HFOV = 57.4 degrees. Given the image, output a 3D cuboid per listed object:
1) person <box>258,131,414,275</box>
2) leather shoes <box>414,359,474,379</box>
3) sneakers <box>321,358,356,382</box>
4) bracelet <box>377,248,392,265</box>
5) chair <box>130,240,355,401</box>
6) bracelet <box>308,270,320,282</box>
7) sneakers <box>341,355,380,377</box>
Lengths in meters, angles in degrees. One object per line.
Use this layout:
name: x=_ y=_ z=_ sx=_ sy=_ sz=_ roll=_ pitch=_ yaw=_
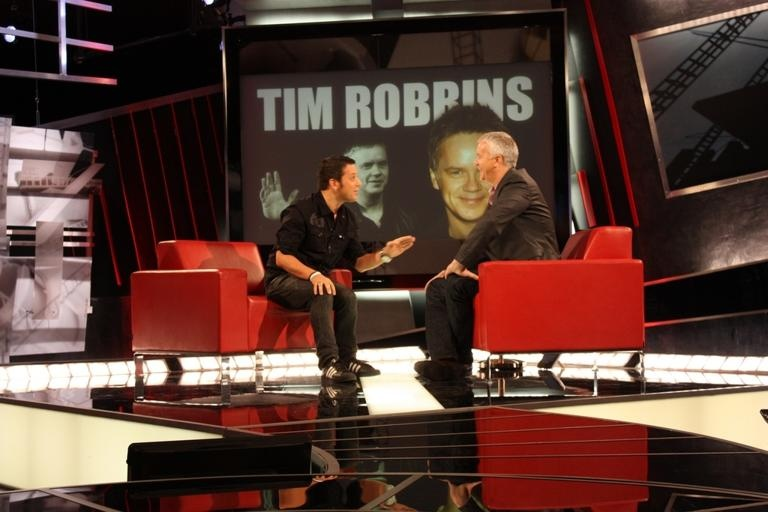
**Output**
person: x=-0.369 y=-0.414 z=5.944 sx=1.964 sy=1.223 sz=0.494 roll=-5 pitch=-3 yaw=1
leather shoes: x=0.403 y=0.754 z=4.804 sx=0.385 sy=0.136 sz=0.159 roll=8 pitch=18 yaw=-1
sneakers: x=-0.314 y=0.781 z=4.766 sx=0.223 sy=0.159 sz=0.152 roll=-1 pitch=-7 yaw=-5
bracelet: x=-0.004 y=0.010 z=5.290 sx=0.111 sy=0.099 sz=0.115 roll=-2 pitch=4 yaw=-1
chair: x=-1.082 y=0.364 z=5.117 sx=1.074 sy=1.250 sz=1.580 roll=-3 pitch=-3 yaw=41
bracelet: x=-0.483 y=0.136 z=4.786 sx=0.069 sy=0.045 sz=0.067 roll=1 pitch=-8 yaw=-22
sneakers: x=-0.171 y=0.797 z=5.012 sx=0.312 sy=0.121 sz=0.106 roll=-1 pitch=1 yaw=24
